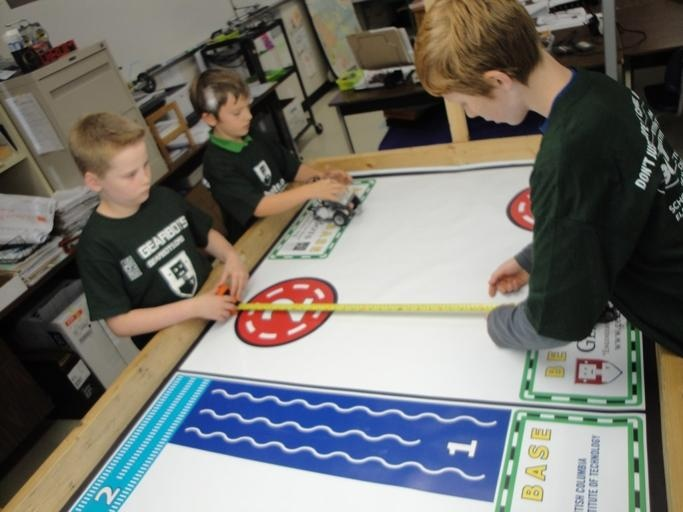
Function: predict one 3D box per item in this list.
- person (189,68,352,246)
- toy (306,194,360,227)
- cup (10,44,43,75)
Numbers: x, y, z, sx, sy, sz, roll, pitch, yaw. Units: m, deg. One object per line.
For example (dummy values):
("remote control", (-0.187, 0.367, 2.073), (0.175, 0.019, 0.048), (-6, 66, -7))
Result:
("person", (-0.290, -0.463, 2.266), (0.683, 0.963, 0.573), (-23, 36, -37))
("toy", (-0.036, -0.205, 2.050), (0.172, 0.081, 0.140), (9, 47, 21))
("cup", (-1.956, -1.236, 2.829), (0.150, 0.133, 0.121), (-24, 34, -16))
